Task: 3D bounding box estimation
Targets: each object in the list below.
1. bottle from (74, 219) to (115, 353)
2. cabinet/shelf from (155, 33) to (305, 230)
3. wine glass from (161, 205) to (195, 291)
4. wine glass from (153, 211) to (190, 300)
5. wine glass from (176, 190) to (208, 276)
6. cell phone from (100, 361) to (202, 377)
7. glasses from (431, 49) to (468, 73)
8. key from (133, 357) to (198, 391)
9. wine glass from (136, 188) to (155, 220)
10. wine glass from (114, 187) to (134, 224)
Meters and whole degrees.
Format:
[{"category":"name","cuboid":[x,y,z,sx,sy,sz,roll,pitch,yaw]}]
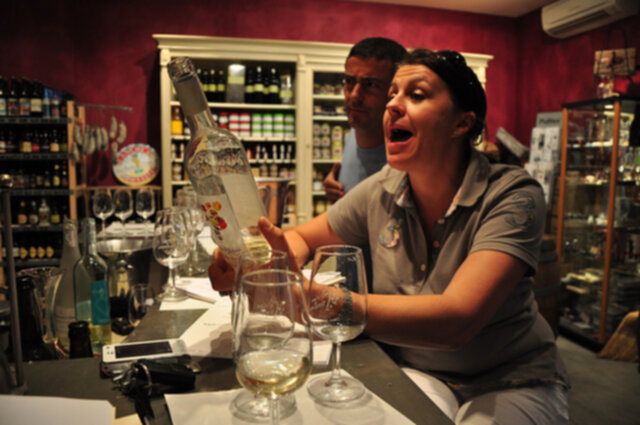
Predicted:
[{"category":"bottle","cuboid":[-0.944,0.311,2.166,0.134,0.542,0.169,-1,11,-1]},{"category":"cabinet/shelf","cuboid":[-0.848,-0.627,4.990,1.660,1.939,0.436,-8,17,-39]},{"category":"wine glass","cuboid":[-0.665,0.150,2.518,0.173,0.462,0.173,-5,13,-21]},{"category":"wine glass","cuboid":[-0.667,0.170,2.338,0.160,0.416,0.151,-7,14,-31]},{"category":"wine glass","cuboid":[-0.700,0.091,2.832,0.204,0.557,0.195,-2,12,-12]},{"category":"cell phone","cuboid":[-0.615,0.561,1.826,0.332,0.035,0.163,3,4,-2]},{"category":"glasses","cuboid":[0.572,-0.655,2.276,0.097,0.077,0.113,31,18,13]},{"category":"key","cuboid":[-0.534,0.582,1.818,0.180,0.109,0.037,-3,4,-7]},{"category":"wine glass","cuboid":[-1.139,-0.050,3.346,0.112,0.222,0.202,-4,4,-20]},{"category":"wine glass","cuboid":[-1.292,-0.038,3.353,0.113,0.238,0.323,-4,4,-22]}]
